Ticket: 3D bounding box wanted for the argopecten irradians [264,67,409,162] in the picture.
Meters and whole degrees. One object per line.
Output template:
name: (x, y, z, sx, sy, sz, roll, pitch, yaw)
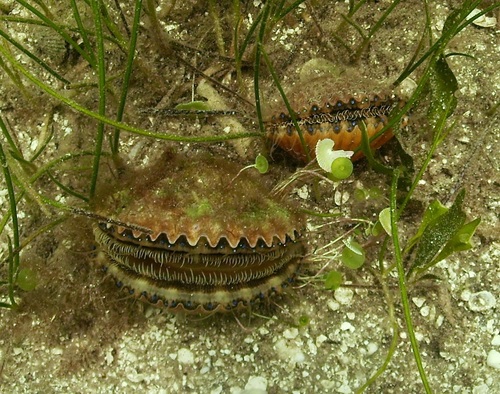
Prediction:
argopecten irradians: (0.580, -0.511, 4.021, 0.660, 0.627, 0.279, -13, 53, -4)
